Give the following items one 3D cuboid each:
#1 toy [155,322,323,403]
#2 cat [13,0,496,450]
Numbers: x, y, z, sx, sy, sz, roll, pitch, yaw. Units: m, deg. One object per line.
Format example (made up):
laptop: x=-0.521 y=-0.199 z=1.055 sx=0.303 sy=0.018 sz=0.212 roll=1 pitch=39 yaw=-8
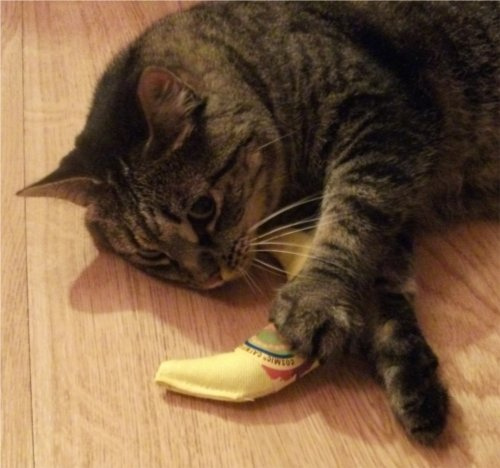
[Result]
toy: x=-0.037 y=0.297 z=1.660 sx=0.453 sy=0.187 sz=0.139 roll=13 pitch=2 yaw=-42
cat: x=0.189 y=-0.194 z=1.693 sx=1.112 sy=0.847 sz=0.656 roll=28 pitch=33 yaw=6
